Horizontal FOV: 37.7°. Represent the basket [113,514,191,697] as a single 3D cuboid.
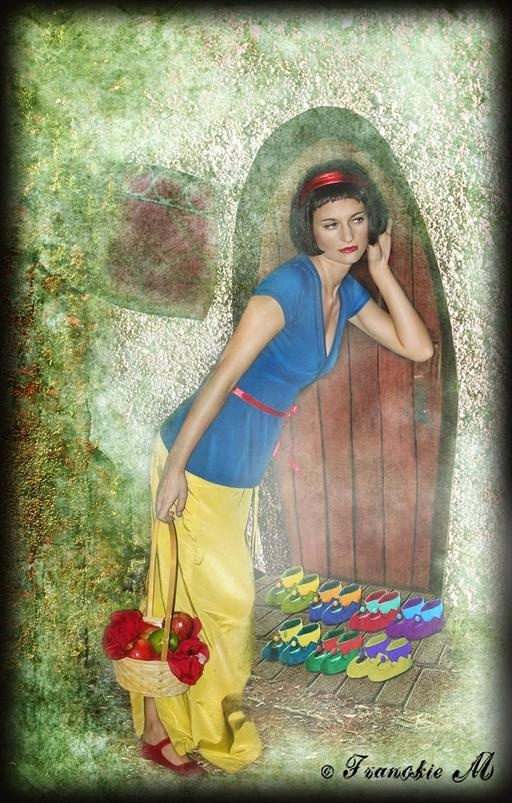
[{"bbox_3d":[-0.264,0.517,1.827,0.168,0.263,0.388,-6,78,-3],"label":"basket"}]
